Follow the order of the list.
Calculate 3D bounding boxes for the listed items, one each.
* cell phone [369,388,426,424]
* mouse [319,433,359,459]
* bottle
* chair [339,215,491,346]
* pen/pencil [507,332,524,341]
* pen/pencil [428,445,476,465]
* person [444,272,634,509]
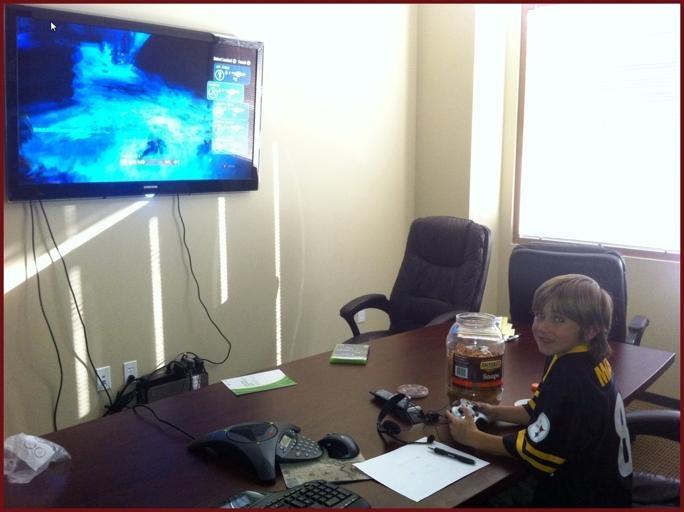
[{"bbox_3d":[0.206,0.569,2.006,0.075,0.068,0.249,-9,20,-35],"label":"cell phone"},{"bbox_3d":[-0.010,0.633,1.744,0.108,0.056,0.066,16,10,29],"label":"mouse"},{"bbox_3d":[0.489,0.391,2.075,0.294,0.447,0.276,0,-3,0],"label":"bottle"},{"bbox_3d":[0.641,0.127,3.567,0.752,1.065,0.895,4,3,43],"label":"chair"},{"bbox_3d":[0.867,0.404,2.637,0.087,0.009,0.030,-14,26,-39],"label":"pen/pencil"},{"bbox_3d":[0.362,0.665,1.735,0.152,0.026,0.022,8,26,35],"label":"pen/pencil"},{"bbox_3d":[0.676,0.466,1.752,0.586,0.755,0.324,2,14,11],"label":"person"}]
